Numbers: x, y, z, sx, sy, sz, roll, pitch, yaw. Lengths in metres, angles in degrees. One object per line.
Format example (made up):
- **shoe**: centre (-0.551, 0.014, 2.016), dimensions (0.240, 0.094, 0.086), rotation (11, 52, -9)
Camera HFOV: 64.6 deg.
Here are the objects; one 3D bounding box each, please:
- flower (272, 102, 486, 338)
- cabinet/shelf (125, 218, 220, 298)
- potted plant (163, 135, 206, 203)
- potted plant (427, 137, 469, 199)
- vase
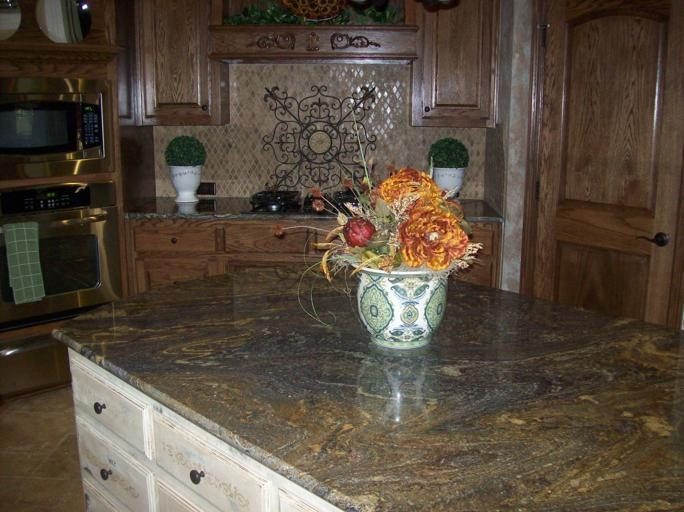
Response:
- **flower**: centre (0.109, -0.011, 1.631), dimensions (0.603, 0.545, 0.384), rotation (5, 13, 30)
- **cabinet/shelf**: centre (-1.105, -0.027, 3.502), dimensions (0.731, 0.514, 0.294), rotation (0, 9, -3)
- **potted plant**: centre (-1.180, -0.658, 4.088), dimensions (0.235, 0.512, 0.186), rotation (5, 14, 27)
- **potted plant**: centre (0.738, -0.685, 4.151), dimensions (0.349, 0.376, 0.341), rotation (-12, 13, -38)
- **vase**: centre (0.183, 0.167, 1.634), dimensions (0.335, 0.191, 0.276), rotation (1, -8, 3)
